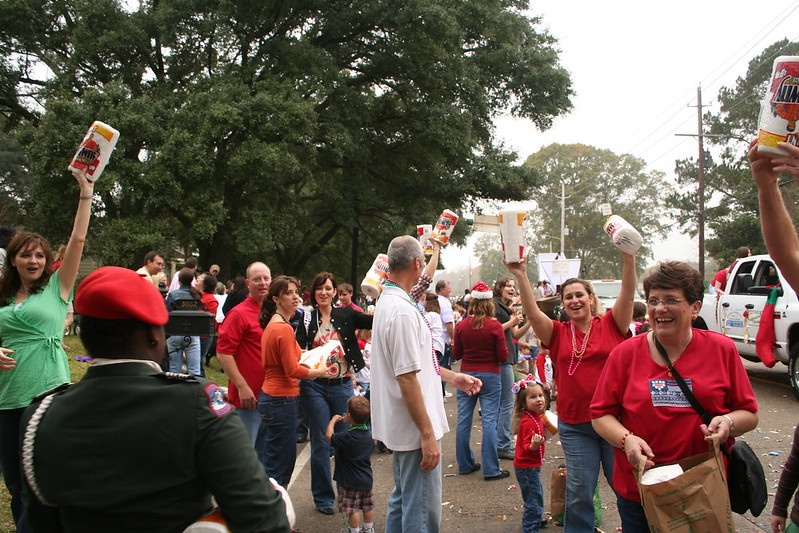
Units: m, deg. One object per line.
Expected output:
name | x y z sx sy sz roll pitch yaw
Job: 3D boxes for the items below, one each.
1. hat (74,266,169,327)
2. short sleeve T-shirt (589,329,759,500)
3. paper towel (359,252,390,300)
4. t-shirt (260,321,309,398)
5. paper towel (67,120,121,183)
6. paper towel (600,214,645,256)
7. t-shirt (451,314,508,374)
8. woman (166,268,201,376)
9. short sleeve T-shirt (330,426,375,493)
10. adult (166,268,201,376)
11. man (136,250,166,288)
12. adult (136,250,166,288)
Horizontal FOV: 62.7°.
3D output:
hat | -1.678 0.190 3.983 0.426 0.204 0.373 19 0 -2
short sleeve T-shirt | 2.020 1.119 4.888 1.230 1.299 0.750 -8 -14 14
paper towel | -0.186 0.106 6.918 0.200 0.536 0.212 11 -15 -42
t-shirt | -1.264 0.968 7.074 0.474 0.774 0.677 2 -2 -36
paper towel | -2.797 -1.061 6.012 0.364 0.638 0.313 3 -9 -19
paper towel | 1.935 -0.345 5.813 0.183 0.348 0.207 -12 4 2
t-shirt | 1.060 1.017 8.610 0.720 0.760 0.476 -3 -6 26
woman | -3.532 1.111 10.725 0.598 2.221 0.552 -1 11 -27
short sleeve T-shirt | -0.477 1.937 6.756 0.566 0.719 0.499 5 -11 -32
adult | -3.544 1.093 10.713 0.604 2.235 0.539 -5 16 -38
man | -3.902 0.037 10.107 0.434 0.521 0.652 5 -7 -17
adult | -3.886 0.031 10.103 0.440 0.528 0.656 4 -8 -10
